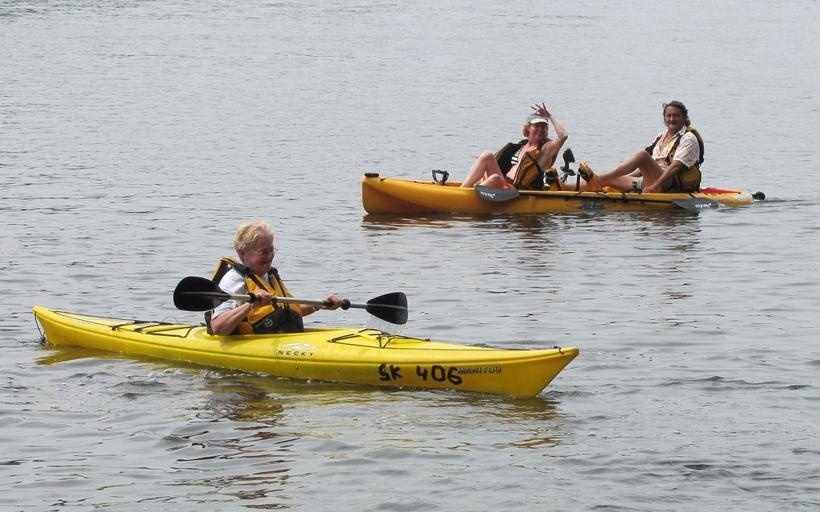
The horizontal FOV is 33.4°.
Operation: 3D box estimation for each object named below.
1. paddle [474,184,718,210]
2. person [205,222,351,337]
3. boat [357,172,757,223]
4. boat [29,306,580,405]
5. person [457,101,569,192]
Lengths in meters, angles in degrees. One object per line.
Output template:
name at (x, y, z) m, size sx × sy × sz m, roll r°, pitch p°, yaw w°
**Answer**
paddle at (3.354, -1.134, 26.142) m, size 3.203 × 0.199 × 0.515 m, roll 2°, pitch 4°, yaw -4°
person at (-1.987, 0.413, 20.684) m, size 1.507 × 2.078 × 1.087 m, roll -13°, pitch 36°, yaw 23°
boat at (2.331, -1.052, 26.308) m, size 8.550 × 0.571 × 1.763 m, roll 1°, pitch 9°, yaw -1°
boat at (-1.580, 1.448, 19.169) m, size 7.285 × 0.478 × 0.995 m, roll 4°, pitch 16°, yaw 13°
person at (2.018, -2.022, 25.695) m, size 1.781 × 1.738 × 0.779 m, roll 0°, pitch 30°, yaw 4°
